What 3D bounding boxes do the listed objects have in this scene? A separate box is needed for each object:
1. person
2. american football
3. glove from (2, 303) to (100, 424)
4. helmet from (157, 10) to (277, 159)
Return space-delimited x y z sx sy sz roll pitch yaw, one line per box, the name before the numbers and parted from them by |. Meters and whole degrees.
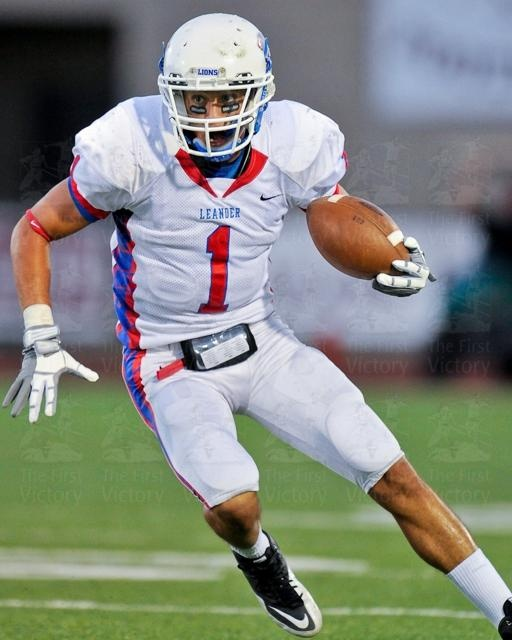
person | -0.065 0.081 2.271 1.027 1.529 1.133 -15 41 -24
american football | 0.266 -0.219 2.335 0.292 0.158 0.183 32 3 24
glove | -0.543 0.121 2.278 0.324 0.091 0.281 -6 76 1
helmet | -0.103 -0.611 2.298 0.342 0.301 0.328 -5 28 -5
